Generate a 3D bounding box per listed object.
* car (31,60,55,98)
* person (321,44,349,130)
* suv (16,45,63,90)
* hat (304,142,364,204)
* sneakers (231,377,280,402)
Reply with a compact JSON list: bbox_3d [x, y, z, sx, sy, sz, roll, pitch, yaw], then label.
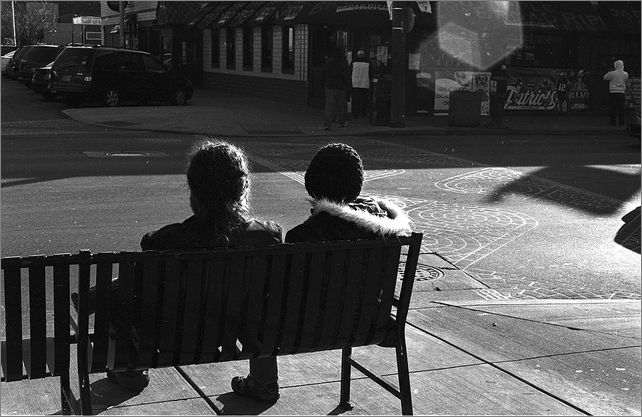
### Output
[{"bbox_3d":[-11.092,-5.192,27.324,1.326,1.113,2.505,-5,17,-21],"label":"car"},{"bbox_3d":[0.435,-3.660,20.202,0.799,2.400,1.552,2,12,1],"label":"person"},{"bbox_3d":[-12.707,-6.770,31.046,1.625,1.346,2.725,1,15,5],"label":"suv"},{"bbox_3d":[0.101,-0.247,4.732,0.347,0.412,0.428,7,0,4],"label":"hat"},{"bbox_3d":[-0.455,1.256,4.735,0.358,0.160,0.141,13,2,13],"label":"sneakers"}]
